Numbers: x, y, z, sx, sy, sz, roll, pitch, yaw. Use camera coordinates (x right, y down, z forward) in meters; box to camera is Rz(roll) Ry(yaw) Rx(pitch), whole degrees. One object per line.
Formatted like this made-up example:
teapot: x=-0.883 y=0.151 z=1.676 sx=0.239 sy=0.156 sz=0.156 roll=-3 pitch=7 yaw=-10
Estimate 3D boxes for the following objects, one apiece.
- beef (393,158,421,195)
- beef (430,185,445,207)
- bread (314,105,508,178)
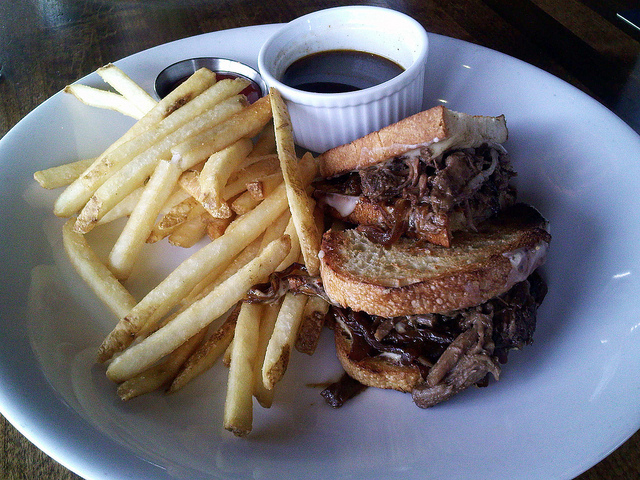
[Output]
beef: x=0.391 y=-0.279 z=2.706 sx=0.041 sy=0.118 sz=0.153 roll=8 pitch=83 yaw=-21
beef: x=0.498 y=-0.189 z=2.580 sx=0.049 sy=0.017 sz=0.084 roll=6 pitch=74 yaw=4
bread: x=0.426 y=-0.495 z=3.009 sx=0.580 sy=0.764 sz=0.337 roll=3 pitch=103 yaw=17
